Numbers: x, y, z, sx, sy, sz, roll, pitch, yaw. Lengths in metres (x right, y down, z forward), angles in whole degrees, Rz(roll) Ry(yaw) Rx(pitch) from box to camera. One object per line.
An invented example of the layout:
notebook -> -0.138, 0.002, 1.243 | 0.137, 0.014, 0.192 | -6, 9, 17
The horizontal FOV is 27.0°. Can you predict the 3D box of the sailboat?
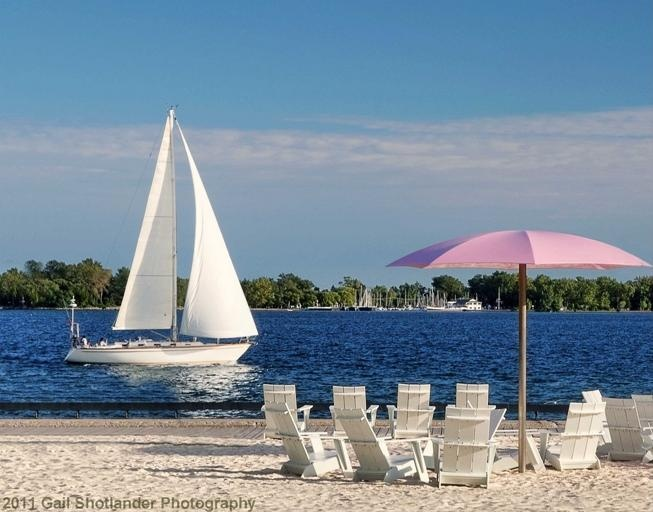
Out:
sailboat -> -7.259, -0.940, 66.497 | 7.639, 12.864, 7.910 | 1, -6, -8
